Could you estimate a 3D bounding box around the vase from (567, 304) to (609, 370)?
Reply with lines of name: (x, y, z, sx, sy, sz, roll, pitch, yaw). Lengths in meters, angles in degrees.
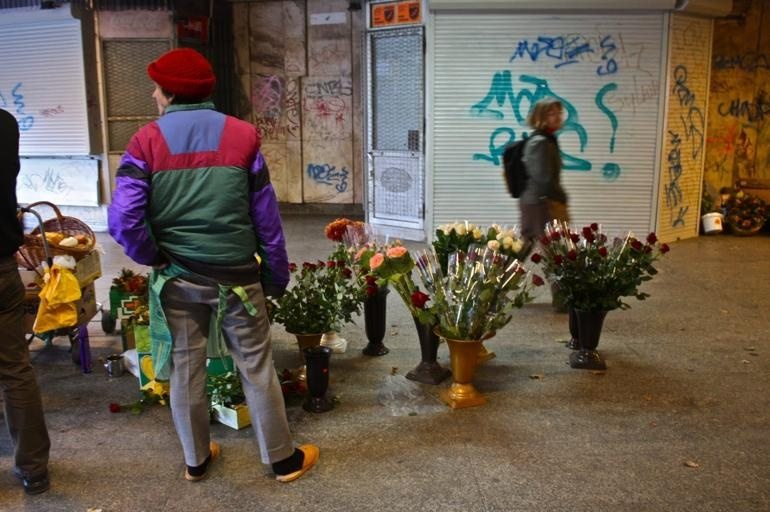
vase: (1.797, 0.722, 4.910, 0.321, 0.552, 0.182, 3, 12, 23)

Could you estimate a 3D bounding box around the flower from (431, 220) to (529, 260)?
flower: (0.834, -0.150, 4.694, 0.541, 0.259, 0.496, 0, 2, -11)

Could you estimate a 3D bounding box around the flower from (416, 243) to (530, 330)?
flower: (0.598, 0.263, 4.464, 0.896, 0.591, 0.736, -6, 9, -27)

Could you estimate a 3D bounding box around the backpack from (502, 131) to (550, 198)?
backpack: (1.570, -0.912, 5.610, 0.693, 0.611, 0.455, 0, 13, 0)

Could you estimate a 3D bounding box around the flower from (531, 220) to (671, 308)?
flower: (1.972, 0.066, 5.076, 1.021, 0.676, 1.103, -2, 7, -24)

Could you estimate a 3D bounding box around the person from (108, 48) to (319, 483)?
person: (-1.100, 0.106, 3.516, 1.054, 2.772, 0.421, -3, 11, -2)

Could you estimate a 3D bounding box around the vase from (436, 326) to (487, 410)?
vase: (0.597, 0.901, 4.477, 0.572, 0.589, 0.518, -1, 7, -6)

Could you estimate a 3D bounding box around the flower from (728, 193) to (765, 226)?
flower: (6.500, -0.839, 10.032, 0.787, 0.571, 0.619, -10, 13, -40)

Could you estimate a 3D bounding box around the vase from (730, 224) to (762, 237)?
vase: (6.410, -0.474, 9.869, 0.349, 0.130, 0.321, 0, 8, 13)

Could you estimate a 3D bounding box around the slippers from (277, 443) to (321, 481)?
slippers: (-0.576, 1.373, 3.684, 0.150, 0.091, 0.285, 13, 20, 33)

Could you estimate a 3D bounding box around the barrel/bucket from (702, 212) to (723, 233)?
barrel/bucket: (5.867, -0.589, 9.928, 0.330, 0.380, 0.258, 0, 11, 12)

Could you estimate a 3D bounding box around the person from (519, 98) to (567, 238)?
person: (1.573, -0.836, 5.512, 0.467, 1.402, 0.332, 1, 12, 15)

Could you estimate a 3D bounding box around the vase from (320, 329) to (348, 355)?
vase: (-0.481, 0.822, 5.297, 0.245, 0.225, 0.228, 1, 17, 5)

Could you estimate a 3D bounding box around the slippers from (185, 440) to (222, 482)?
slippers: (-1.232, 1.373, 3.757, 0.129, 0.124, 0.317, 2, 21, 4)
